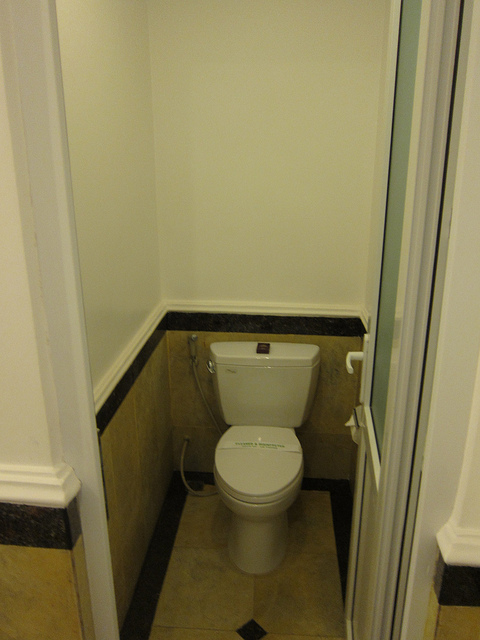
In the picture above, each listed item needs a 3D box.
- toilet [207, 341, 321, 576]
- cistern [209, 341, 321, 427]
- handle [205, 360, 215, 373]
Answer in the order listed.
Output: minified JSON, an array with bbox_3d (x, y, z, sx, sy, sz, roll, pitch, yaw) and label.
[{"bbox_3d":[0.103,0.564,2.085,0.326,0.770,0.533,0,23,2],"label":"toilet"},{"bbox_3d":[0.111,0.251,2.255,0.407,0.435,0.290,5,28,8],"label":"cistern"},{"bbox_3d":[-0.124,0.186,2.175,0.019,0.049,0.032,-21,16,47],"label":"handle"}]
